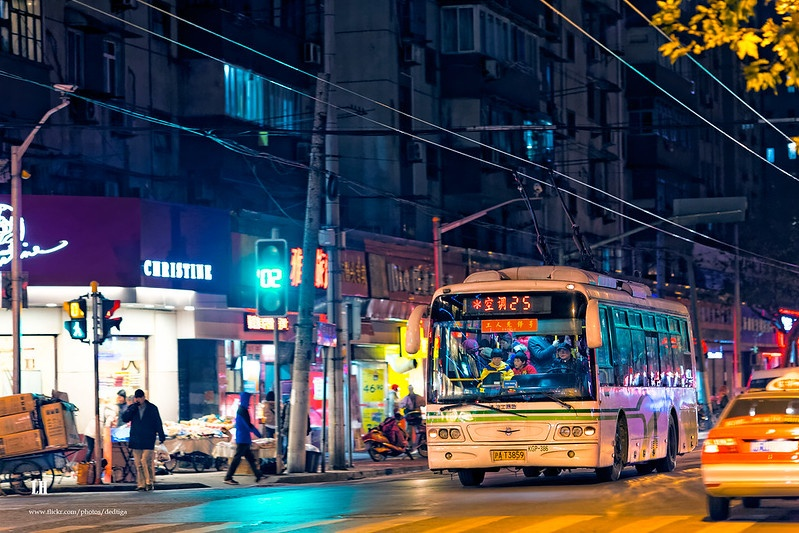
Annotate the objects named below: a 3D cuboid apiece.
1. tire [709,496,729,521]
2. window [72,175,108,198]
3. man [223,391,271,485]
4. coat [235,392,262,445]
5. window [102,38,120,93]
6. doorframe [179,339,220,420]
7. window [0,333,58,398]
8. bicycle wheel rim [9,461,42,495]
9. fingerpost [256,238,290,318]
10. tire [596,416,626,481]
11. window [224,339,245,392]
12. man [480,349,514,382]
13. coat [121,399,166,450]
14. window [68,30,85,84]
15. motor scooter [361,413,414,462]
[{"bbox_3d":[5.327,4.028,21.997,0.197,0.451,0.500,0,-1,22],"label":"tire"},{"bbox_3d":[-9.408,-2.435,40.037,1.092,0.609,0.290,6,-14,-39],"label":"window"},{"bbox_3d":[-3.899,4.252,32.783,0.871,2.130,1.334,-8,-9,42],"label":"man"},{"bbox_3d":[-3.792,4.057,32.737,0.672,1.792,0.623,2,3,-5],"label":"coat"},{"bbox_3d":[-8.954,-6.189,40.655,0.165,1.727,0.634,-9,-13,30],"label":"window"},{"bbox_3d":[-6.403,3.503,41.169,1.724,2.426,1.546,1,-3,-30],"label":"doorframe"},{"bbox_3d":[-10.394,2.775,36.532,1.992,2.171,1.299,1,-9,-14],"label":"window"},{"bbox_3d":[-8.725,4.912,30.622,0.734,0.788,0.932,0,-11,-15],"label":"bicycle wheel rim"},{"bbox_3d":[-3.340,0.275,34.031,0.814,2.063,0.607,-2,-11,-3],"label":"fingerpost"},{"bbox_3d":[4.492,3.860,28.155,0.469,1.226,1.330,-1,-21,13],"label":"tire"},{"bbox_3d":[-5.274,3.156,41.831,0.402,1.607,1.112,-5,-11,13],"label":"window"},{"bbox_3d":[2.123,2.127,28.100,0.979,0.793,0.679,-1,-5,10],"label":"man"},{"bbox_3d":[-5.965,3.655,30.459,0.921,1.138,0.394,0,-11,-12],"label":"coat"},{"bbox_3d":[-9.809,-6.348,39.716,0.193,1.608,0.775,-8,-12,24],"label":"window"},{"bbox_3d":[-0.223,5.115,39.193,0.860,1.057,1.802,-22,-8,38],"label":"motor scooter"}]
